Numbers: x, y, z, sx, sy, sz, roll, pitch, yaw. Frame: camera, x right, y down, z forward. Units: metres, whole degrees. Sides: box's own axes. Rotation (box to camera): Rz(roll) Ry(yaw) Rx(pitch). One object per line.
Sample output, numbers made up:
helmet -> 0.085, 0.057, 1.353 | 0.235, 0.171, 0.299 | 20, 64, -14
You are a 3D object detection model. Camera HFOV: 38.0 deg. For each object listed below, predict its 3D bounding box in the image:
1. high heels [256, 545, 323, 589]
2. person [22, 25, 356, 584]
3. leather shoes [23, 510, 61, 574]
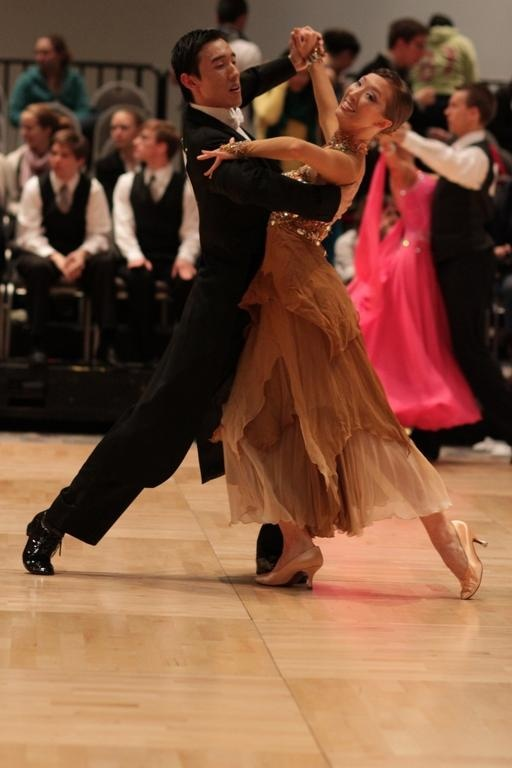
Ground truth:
high heels -> 0.100, 0.487, 1.989 | 0.084, 0.111, 0.242 | 5, -8, -41
person -> -0.185, -0.228, 1.853 | 0.690, 1.405, 0.628 | 3, 0, -16
leather shoes -> -0.557, 0.407, 1.949 | 0.077, 0.090, 0.199 | 28, 23, -29
